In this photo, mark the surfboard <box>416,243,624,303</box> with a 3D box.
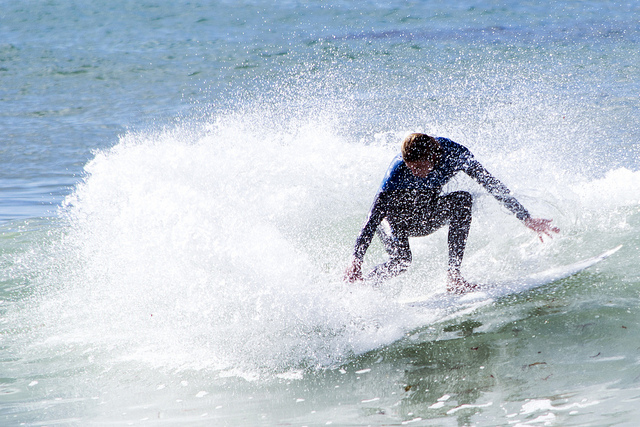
[{"bbox_3d":[3.075,0.905,14.490,2.674,0.331,0.170,-13,96,3],"label":"surfboard"}]
